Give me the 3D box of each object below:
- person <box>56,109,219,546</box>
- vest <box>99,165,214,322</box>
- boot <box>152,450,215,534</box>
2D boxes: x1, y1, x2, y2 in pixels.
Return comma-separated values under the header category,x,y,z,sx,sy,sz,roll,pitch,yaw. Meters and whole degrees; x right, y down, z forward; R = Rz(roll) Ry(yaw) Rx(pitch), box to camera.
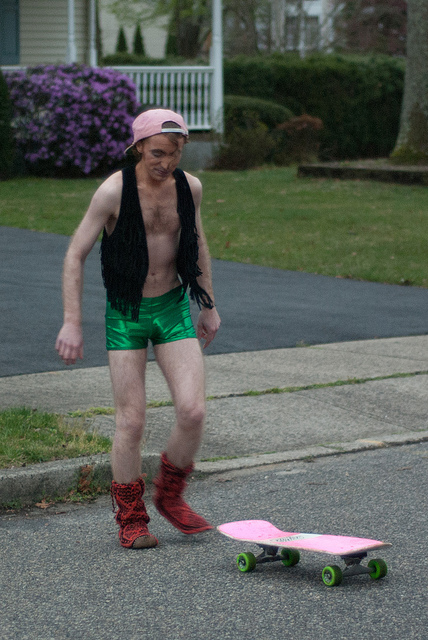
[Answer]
category,x,y,z,sx,sy,sz,roll,pitch,yaw
person,-0.287,0.021,3.721,0.624,1.708,0.625,3,10,-1
vest,-0.270,-0.289,3.693,0.372,0.620,0.362,-11,21,-34
boot,-0.122,0.700,3.736,0.254,0.370,0.152,3,10,0
